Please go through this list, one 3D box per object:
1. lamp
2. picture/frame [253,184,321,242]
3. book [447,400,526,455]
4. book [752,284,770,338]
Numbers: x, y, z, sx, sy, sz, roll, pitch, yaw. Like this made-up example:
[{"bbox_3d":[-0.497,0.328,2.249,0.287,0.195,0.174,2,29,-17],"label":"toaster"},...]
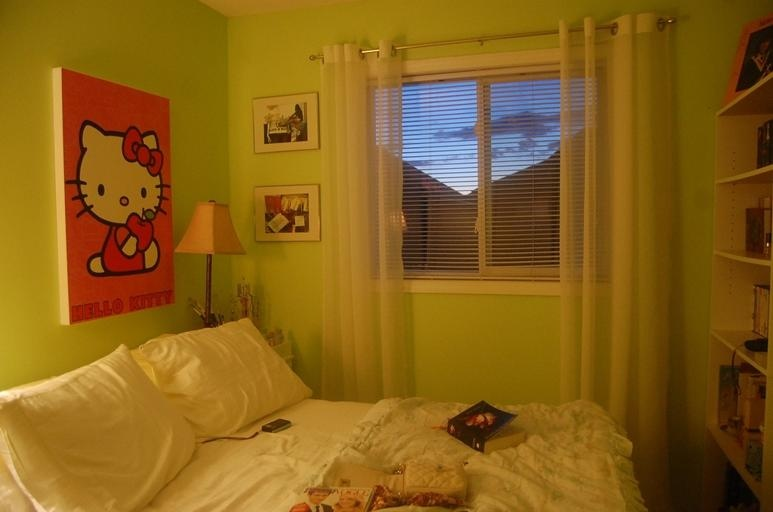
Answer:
[{"bbox_3d":[-1.265,0.046,4.016,0.469,0.853,0.451,3,10,44],"label":"lamp"},{"bbox_3d":[-0.759,-0.347,4.467,0.443,0.366,0.017,1,5,15],"label":"picture/frame"},{"bbox_3d":[0.542,0.924,3.101,0.346,0.132,0.350,-8,12,-44],"label":"book"},{"bbox_3d":[2.253,0.331,3.400,0.052,0.297,0.183,-1,7,18],"label":"book"}]
